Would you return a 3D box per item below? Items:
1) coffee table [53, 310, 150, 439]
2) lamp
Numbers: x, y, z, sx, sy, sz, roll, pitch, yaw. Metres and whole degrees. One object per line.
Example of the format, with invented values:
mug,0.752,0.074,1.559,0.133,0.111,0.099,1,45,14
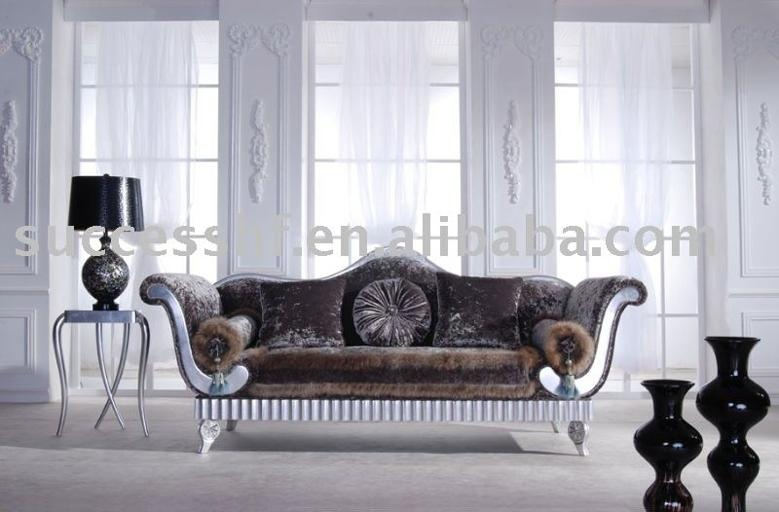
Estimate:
coffee table,-2.295,0.963,8.038,0.859,1.070,0.877,1,2,23
lamp,-2.338,-0.114,7.959,0.578,1.107,0.613,-1,-4,1
